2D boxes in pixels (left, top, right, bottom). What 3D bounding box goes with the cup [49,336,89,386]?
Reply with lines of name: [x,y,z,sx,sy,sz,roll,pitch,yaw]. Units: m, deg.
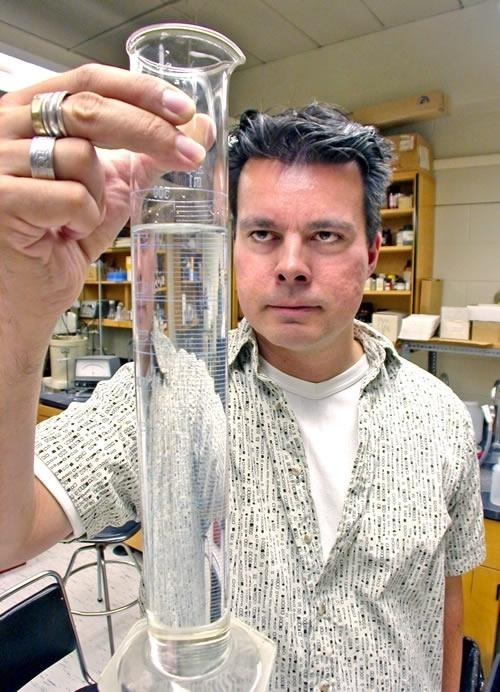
cup: [-1.201,0.072,3.757,0.219,0.331,0.233,3,13,-1]

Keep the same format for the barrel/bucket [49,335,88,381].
barrel/bucket: [-1.208,0.061,3.774,0.209,0.305,0.225,4,11,-1]

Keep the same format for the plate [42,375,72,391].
plate: [-1.315,0.252,3.812,0.210,0.055,0.206,2,1,-26]

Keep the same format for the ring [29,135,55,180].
ring: [-0.167,-0.151,0.455,0.019,0.034,0.034,1,5,-6]
